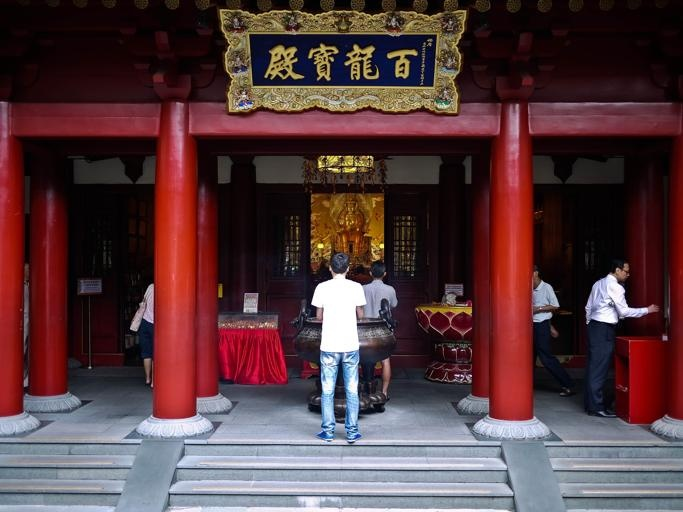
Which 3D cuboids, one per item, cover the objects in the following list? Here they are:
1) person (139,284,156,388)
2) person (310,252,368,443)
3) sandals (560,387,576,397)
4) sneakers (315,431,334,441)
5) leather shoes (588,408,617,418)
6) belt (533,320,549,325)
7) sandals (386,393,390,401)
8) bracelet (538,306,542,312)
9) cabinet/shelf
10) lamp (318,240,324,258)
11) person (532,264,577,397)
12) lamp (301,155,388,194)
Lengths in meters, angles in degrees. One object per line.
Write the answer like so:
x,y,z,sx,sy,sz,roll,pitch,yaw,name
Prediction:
-2.405,0.966,7.629,0.168,1.215,0.484,-2,3,-18,person
-0.020,0.804,5.534,0.462,1.622,0.405,-1,3,-2,person
2.594,1.531,7.092,0.168,0.098,0.271,0,3,19,sandals
-0.145,1.587,5.486,0.064,0.072,0.176,0,6,-42,sneakers
2.627,1.575,6.236,0.261,0.106,0.087,-2,0,8,leather shoes
2.338,0.771,7.240,0.191,0.041,0.038,-1,3,-6,belt
0.506,1.495,6.569,0.058,0.068,0.173,-2,-13,7,sandals
2.326,0.622,7.213,0.067,0.073,0.033,0,3,17,bracelet
2.929,1.195,6.056,0.438,0.804,0.420,0,3,22,cabinet/shelf
-0.298,-0.103,9.337,0.160,0.286,0.158,-2,2,3,lamp
2.712,0.832,7.966,0.445,1.458,2.068,0,3,17,person
0.101,-1.174,8.642,0.978,0.407,0.973,-1,-1,20,lamp
